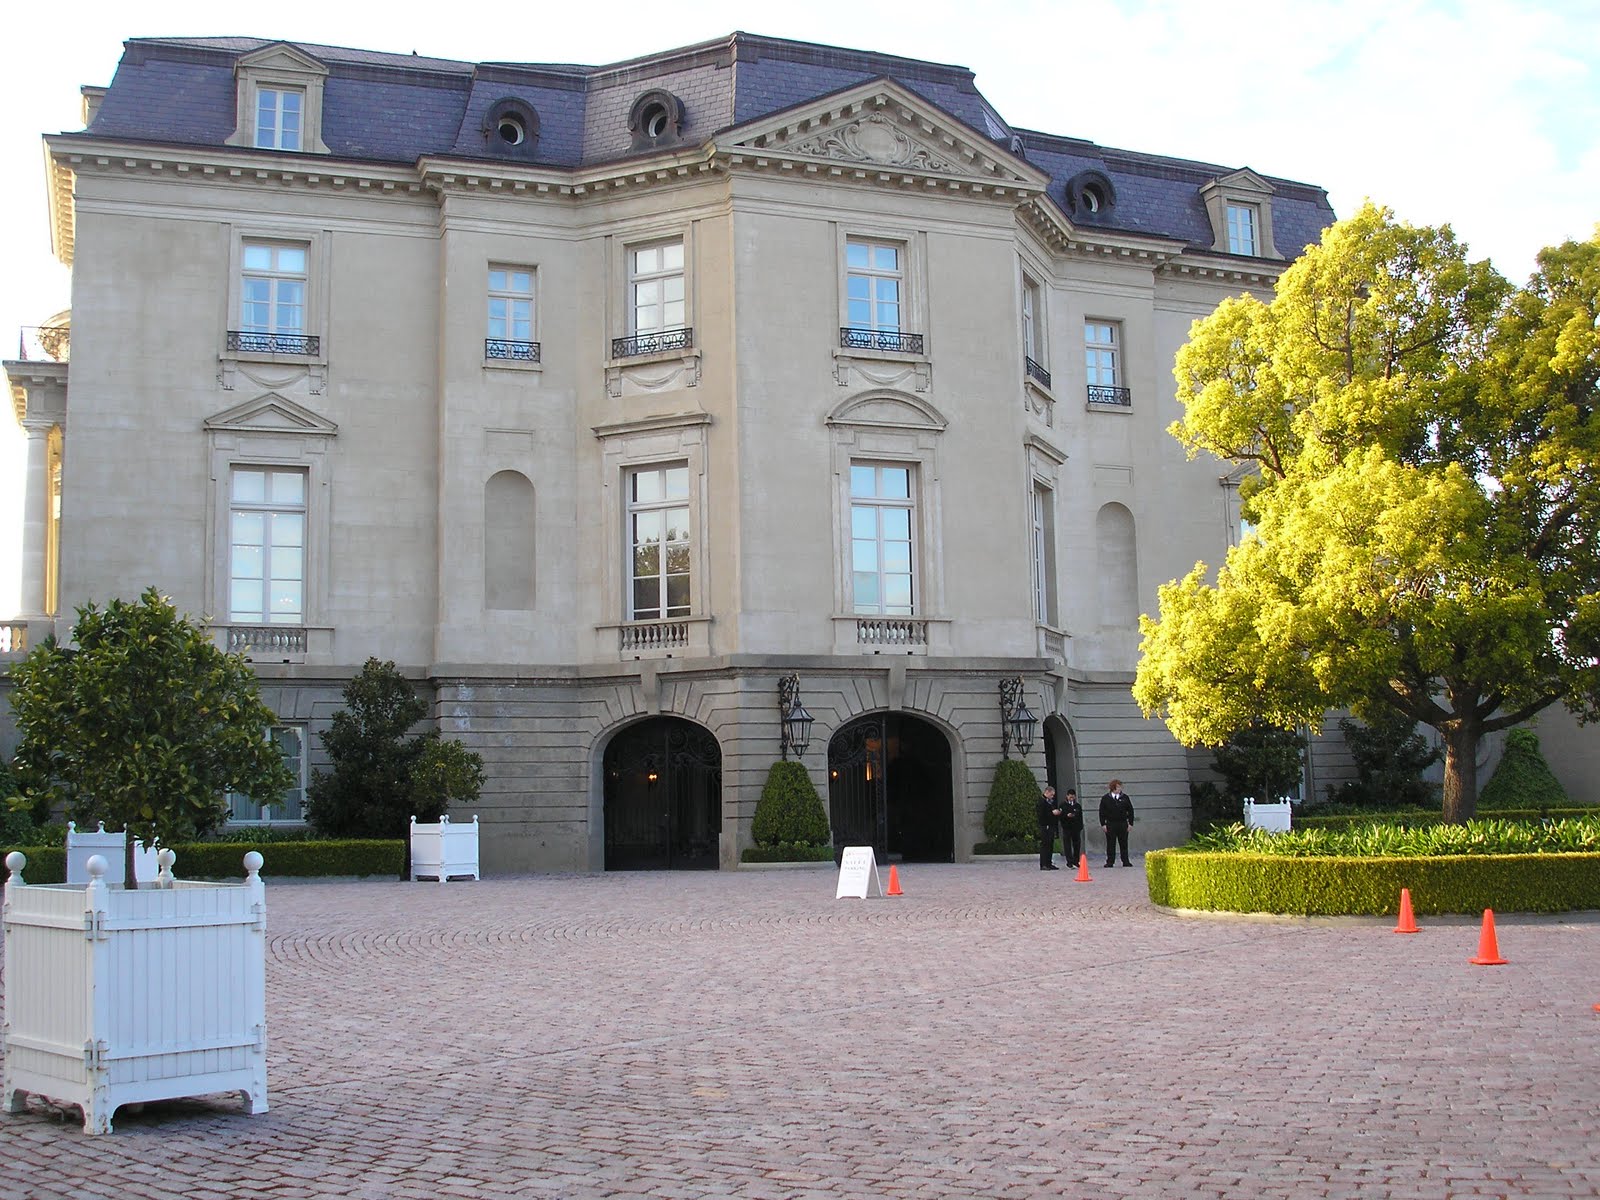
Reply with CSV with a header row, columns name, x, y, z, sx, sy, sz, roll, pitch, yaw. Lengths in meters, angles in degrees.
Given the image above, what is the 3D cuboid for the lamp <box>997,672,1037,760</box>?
name,x,y,z,sx,sy,sz,roll,pitch,yaw
lamp,4.621,2.493,41.220,0.777,1.787,0.580,1,-6,-20

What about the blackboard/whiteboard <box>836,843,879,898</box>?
name,x,y,z,sx,sy,sz,roll,pitch,yaw
blackboard/whiteboard,0.861,4.259,30.058,0.615,0.789,0.706,-1,-6,0

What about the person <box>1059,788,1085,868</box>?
name,x,y,z,sx,sy,sz,roll,pitch,yaw
person,5.157,4.394,36.937,0.351,1.394,0.727,-2,-6,5

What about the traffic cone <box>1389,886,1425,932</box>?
name,x,y,z,sx,sy,sz,roll,pitch,yaw
traffic cone,7.364,3.813,23.682,0.471,0.640,0.505,-1,-5,-2

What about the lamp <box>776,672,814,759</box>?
name,x,y,z,sx,sy,sz,roll,pitch,yaw
lamp,-0.121,2.359,39.534,0.722,1.781,0.410,1,-6,-20
